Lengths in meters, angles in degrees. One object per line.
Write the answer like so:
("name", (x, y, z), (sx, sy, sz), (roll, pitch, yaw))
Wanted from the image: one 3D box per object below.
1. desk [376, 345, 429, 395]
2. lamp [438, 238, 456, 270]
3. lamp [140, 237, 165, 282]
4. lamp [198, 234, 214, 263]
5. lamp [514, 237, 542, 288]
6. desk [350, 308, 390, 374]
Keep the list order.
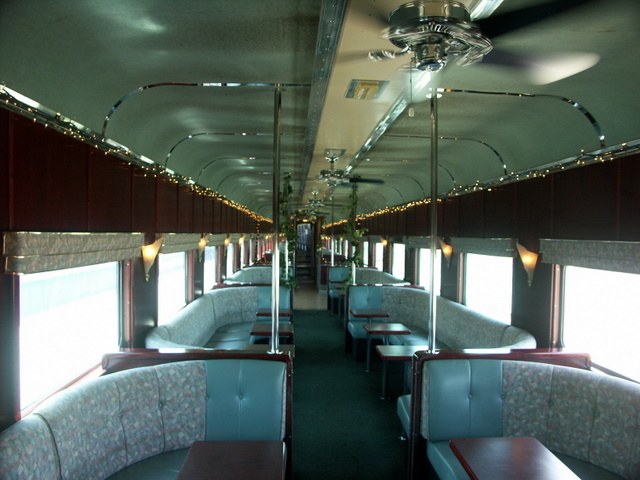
("desk", (1.033, 1.809, 7.284), (0.543, 0.606, 0.989), (0, -3, 1))
("lamp", (1.966, 0.207, 8.278), (0.247, 0.536, 0.968), (0, 8, 13))
("lamp", (-1.860, 0.194, 5.792), (0.152, 0.396, 0.336), (-13, -21, 40))
("lamp", (-1.693, 0.076, 7.993), (0.236, 0.518, 0.292), (1, 2, 5))
("lamp", (2.360, 0.266, 6.056), (0.154, 0.564, 0.417), (-2, 7, -7))
("desk", (0.766, 1.666, 8.540), (0.667, 0.960, 0.974), (2, 1, -1))
